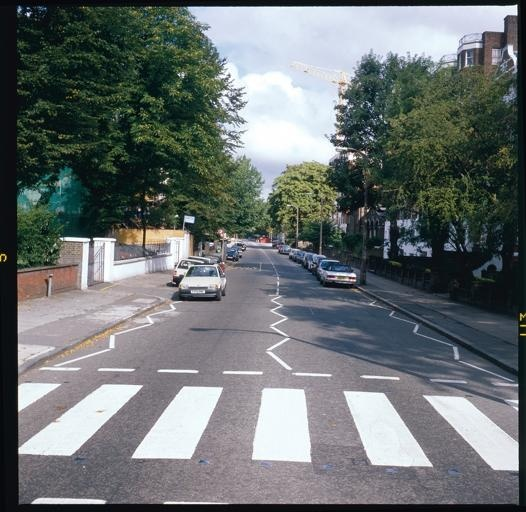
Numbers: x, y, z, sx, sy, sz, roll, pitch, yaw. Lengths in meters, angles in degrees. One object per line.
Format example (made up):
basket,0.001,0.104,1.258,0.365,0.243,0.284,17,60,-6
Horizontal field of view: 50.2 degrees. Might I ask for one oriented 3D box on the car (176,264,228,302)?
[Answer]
car,-2.476,1.060,23.419,1.717,1.524,2.928,1,4,-3
